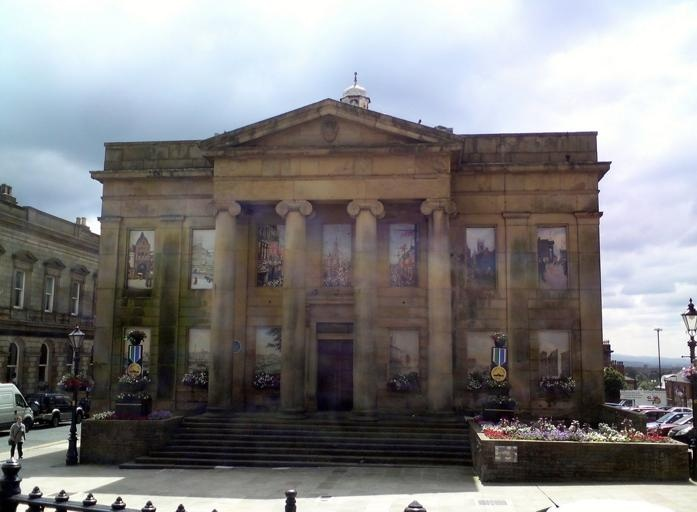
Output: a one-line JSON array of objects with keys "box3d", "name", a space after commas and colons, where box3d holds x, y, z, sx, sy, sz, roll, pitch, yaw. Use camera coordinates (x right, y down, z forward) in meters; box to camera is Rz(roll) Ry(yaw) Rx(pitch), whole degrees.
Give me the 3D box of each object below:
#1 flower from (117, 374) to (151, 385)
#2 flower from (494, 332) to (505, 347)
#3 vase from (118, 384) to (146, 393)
[{"box3d": [-9.965, 5.725, 30.408, 1.402, 0.329, 1.387, 3, -5, -7], "name": "flower"}, {"box3d": [6.813, 3.767, 29.754, 0.565, 0.518, 0.559, 1, -10, -3], "name": "flower"}, {"box3d": [-9.710, 5.907, 29.687, 1.022, 0.363, 1.008, 4, -7, -23], "name": "vase"}]
